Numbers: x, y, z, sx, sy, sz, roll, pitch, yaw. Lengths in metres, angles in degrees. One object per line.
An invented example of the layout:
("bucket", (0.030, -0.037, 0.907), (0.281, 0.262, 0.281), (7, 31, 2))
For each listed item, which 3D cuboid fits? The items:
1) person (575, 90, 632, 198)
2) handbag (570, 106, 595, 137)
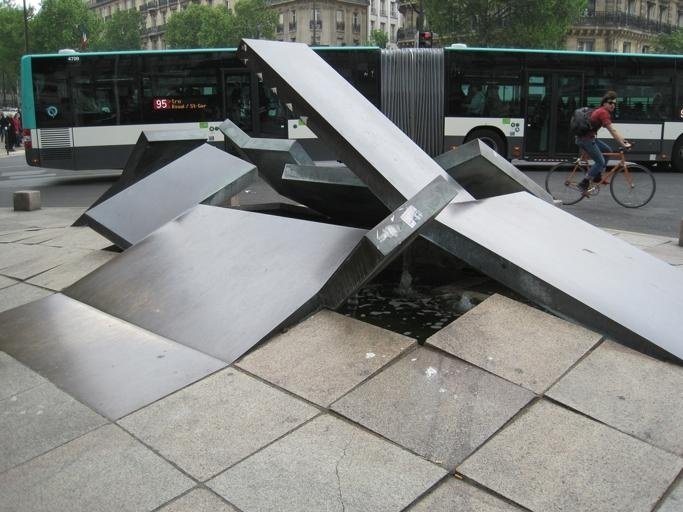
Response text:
("person", (4.714, -2.074, 10.583), (0.903, 1.876, 1.277), (5, 16, 23))
("handbag", (4.460, -2.480, 10.587), (0.423, 0.501, 0.330), (10, 19, 37))
